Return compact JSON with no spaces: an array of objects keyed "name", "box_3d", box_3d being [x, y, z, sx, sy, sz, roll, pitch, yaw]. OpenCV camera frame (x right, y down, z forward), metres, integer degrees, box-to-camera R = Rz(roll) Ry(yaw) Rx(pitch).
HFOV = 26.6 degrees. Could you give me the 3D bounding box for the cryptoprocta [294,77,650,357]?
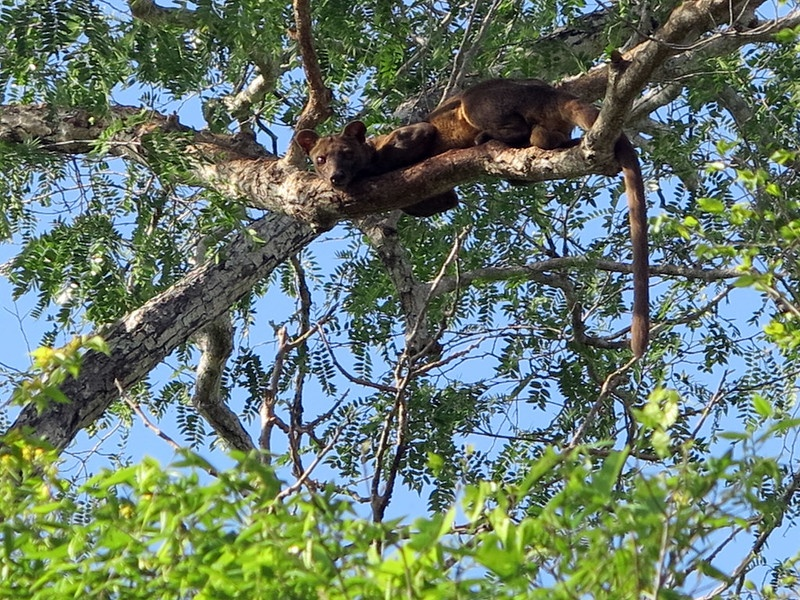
[{"name":"cryptoprocta","box_3d":[0.555,-0.896,10.552,1.975,0.859,0.479,-10,-37,20]}]
